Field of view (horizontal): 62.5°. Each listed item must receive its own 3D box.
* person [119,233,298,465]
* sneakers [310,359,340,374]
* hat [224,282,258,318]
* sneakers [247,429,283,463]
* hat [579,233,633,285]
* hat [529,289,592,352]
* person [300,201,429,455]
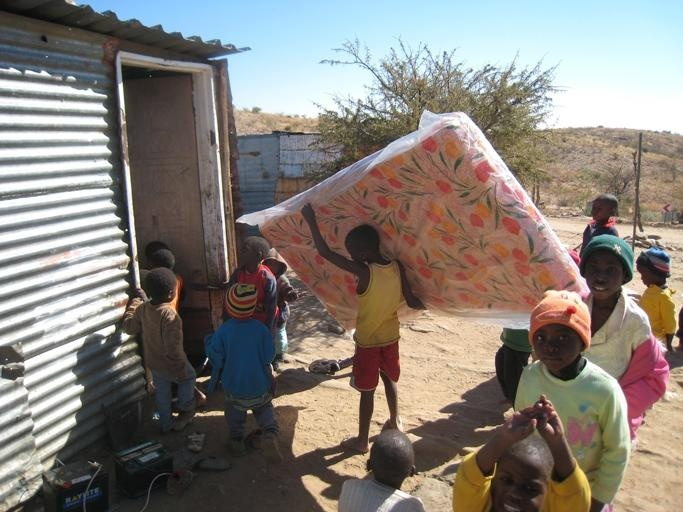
[{"bbox_3d":[-0.990,0.974,5.224,1.462,1.629,0.789,8,13,32],"label":"person"},{"bbox_3d":[-0.207,1.394,7.115,0.234,0.097,0.181,-12,4,2],"label":"sneakers"},{"bbox_3d":[-0.886,0.410,5.028,0.249,0.244,0.322,7,-10,-5],"label":"hat"},{"bbox_3d":[-0.685,1.691,4.987,0.095,0.270,0.178,-38,32,-14],"label":"sneakers"},{"bbox_3d":[1.854,-0.026,3.919,0.342,0.342,0.265,0,26,35],"label":"hat"},{"bbox_3d":[1.284,0.357,3.395,0.330,0.342,0.364,0,-28,16],"label":"hat"},{"bbox_3d":[0.244,0.690,5.217,1.089,2.309,0.471,2,11,-1],"label":"person"}]
